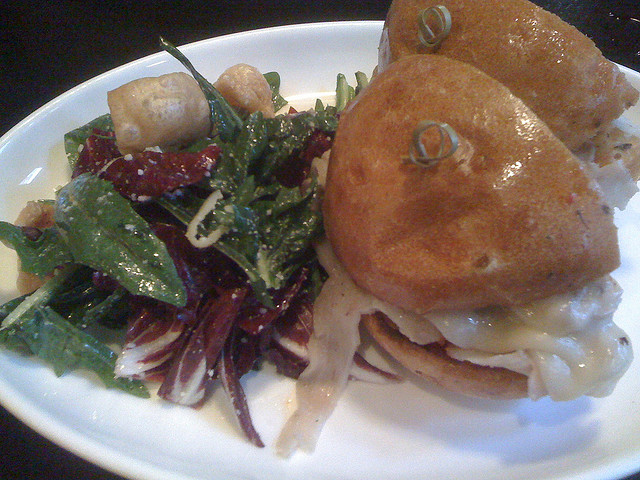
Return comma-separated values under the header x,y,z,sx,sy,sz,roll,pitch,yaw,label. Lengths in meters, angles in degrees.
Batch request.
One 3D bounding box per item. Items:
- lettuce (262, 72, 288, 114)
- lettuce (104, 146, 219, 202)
x,y,z,sx,sy,sz,roll,pitch,yaw,label
-0.196,-0.653,2.935,0.121,0.038,0.181,-24,107,-9,lettuce
-0.519,-0.230,2.096,0.448,0.133,0.146,-10,110,-26,lettuce
